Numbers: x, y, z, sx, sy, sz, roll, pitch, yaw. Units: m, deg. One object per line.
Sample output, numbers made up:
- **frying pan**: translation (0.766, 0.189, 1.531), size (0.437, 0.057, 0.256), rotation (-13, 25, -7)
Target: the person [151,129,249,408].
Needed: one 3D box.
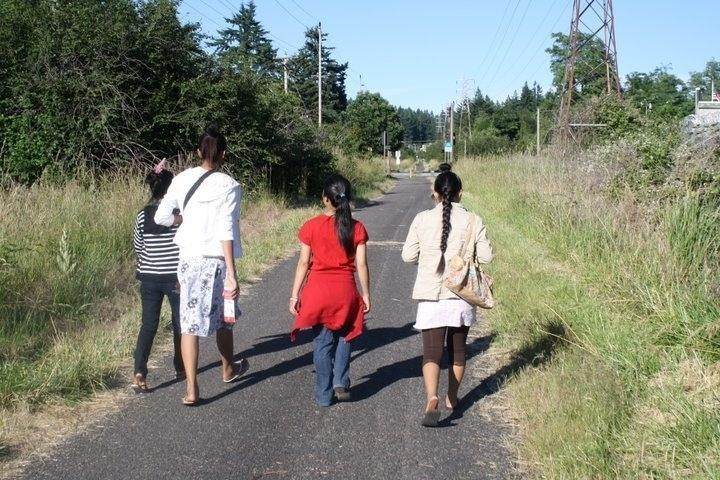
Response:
- **person**: translation (-1.832, 0.311, 6.980), size (0.894, 3.192, 0.741), rotation (-2, 6, -5)

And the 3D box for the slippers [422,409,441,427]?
- **slippers**: translation (0.778, 1.963, 6.493), size (0.116, 0.246, 0.224), rotation (3, -3, -6)

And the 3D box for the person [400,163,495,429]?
- **person**: translation (0.978, 0.639, 6.653), size (0.958, 2.786, 0.693), rotation (-1, 6, 4)

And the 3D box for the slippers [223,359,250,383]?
- **slippers**: translation (-1.575, 1.703, 7.498), size (0.178, 0.358, 0.083), rotation (9, -27, 46)

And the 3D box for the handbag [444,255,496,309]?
- **handbag**: translation (1.184, 0.464, 6.496), size (0.518, 0.702, 0.289), rotation (25, -20, -29)

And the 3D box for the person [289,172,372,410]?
- **person**: translation (-0.355, 0.592, 6.950), size (0.920, 2.688, 0.369), rotation (-2, 6, -4)

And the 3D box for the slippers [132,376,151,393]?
- **slippers**: translation (-2.687, 1.767, 7.216), size (0.100, 0.155, 0.338), rotation (3, -26, 1)
